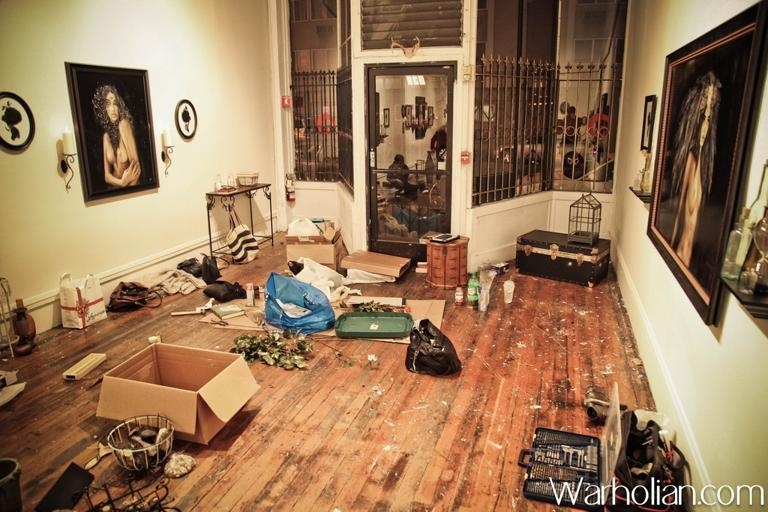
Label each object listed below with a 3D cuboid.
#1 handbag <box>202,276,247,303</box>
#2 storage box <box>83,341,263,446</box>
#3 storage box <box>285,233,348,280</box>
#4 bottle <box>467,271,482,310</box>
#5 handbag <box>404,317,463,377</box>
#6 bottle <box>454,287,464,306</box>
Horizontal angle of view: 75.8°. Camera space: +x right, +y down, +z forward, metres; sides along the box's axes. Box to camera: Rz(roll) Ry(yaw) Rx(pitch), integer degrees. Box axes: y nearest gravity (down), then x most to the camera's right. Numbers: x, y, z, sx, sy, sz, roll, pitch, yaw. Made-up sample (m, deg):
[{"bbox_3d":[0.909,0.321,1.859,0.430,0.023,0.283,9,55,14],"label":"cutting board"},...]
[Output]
[{"bbox_3d":[-2.059,0.441,6.414,0.453,0.186,0.445,-16,24,-33],"label":"handbag"},{"bbox_3d":[-1.641,1.087,4.018,1.085,0.505,0.844,8,17,16],"label":"storage box"},{"bbox_3d":[-0.935,-0.056,7.136,0.897,0.547,0.596,-8,20,-16],"label":"storage box"},{"bbox_3d":[1.108,0.389,6.065,0.162,0.402,0.266,1,20,10],"label":"bottle"},{"bbox_3d":[0.480,0.909,4.807,0.515,0.439,0.332,9,22,28],"label":"handbag"},{"bbox_3d":[0.928,0.502,6.103,0.085,0.241,0.090,-4,40,3],"label":"bottle"}]
